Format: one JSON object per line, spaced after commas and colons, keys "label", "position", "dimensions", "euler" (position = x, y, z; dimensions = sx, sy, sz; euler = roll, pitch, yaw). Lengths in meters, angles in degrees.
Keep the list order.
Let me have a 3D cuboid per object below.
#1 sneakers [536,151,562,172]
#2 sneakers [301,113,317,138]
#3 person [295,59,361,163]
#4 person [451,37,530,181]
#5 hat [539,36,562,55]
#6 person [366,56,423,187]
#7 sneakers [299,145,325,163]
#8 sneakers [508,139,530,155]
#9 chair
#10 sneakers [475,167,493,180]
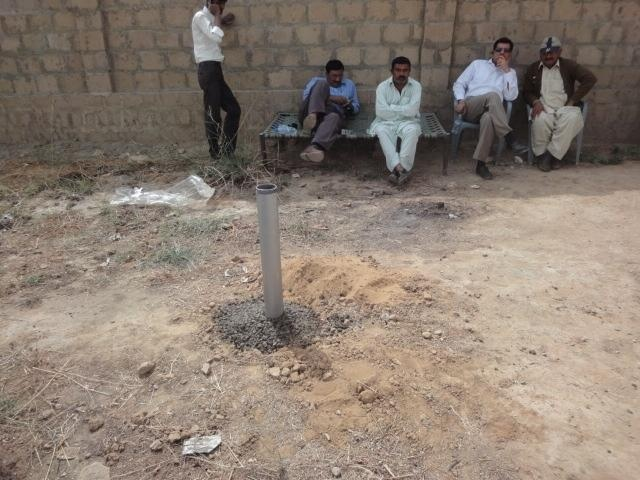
{"label": "sneakers", "position": [3.425, -1.181, 6.883], "dimensions": [0.138, 0.279, 0.270], "euler": [9, -14, 16]}
{"label": "sneakers", "position": [-0.162, -1.651, 6.656], "dimensions": [0.141, 0.163, 0.392], "euler": [4, -15, -10]}
{"label": "person", "position": [0.076, -1.876, 6.826], "dimensions": [0.776, 1.539, 1.685], "euler": [4, 20, 14]}
{"label": "person", "position": [2.404, -1.989, 6.795], "dimensions": [0.891, 1.858, 1.101], "euler": [6, 21, 20]}
{"label": "hat", "position": [3.412, -2.901, 6.813], "dimensions": [0.211, 0.160, 0.310], "euler": [13, 45, 36]}
{"label": "person", "position": [1.063, -1.699, 6.482], "dimensions": [0.711, 1.649, 1.040], "euler": [1, 20, 6]}
{"label": "sneakers", "position": [-0.102, -1.178, 6.341], "dimensions": [0.275, 0.231, 0.360], "euler": [0, 20, 3]}
{"label": "sneakers", "position": [3.101, -1.462, 7.277], "dimensions": [0.184, 0.164, 0.399], "euler": [-26, 39, -11]}
{"label": "chair", "position": [3.047, -1.714, 6.986], "dimensions": [1.315, 0.699, 0.486], "euler": [4, 20, 7]}
{"label": "sneakers", "position": [2.328, -0.964, 6.556], "dimensions": [0.112, 0.120, 0.280], "euler": [-12, 30, -8]}
